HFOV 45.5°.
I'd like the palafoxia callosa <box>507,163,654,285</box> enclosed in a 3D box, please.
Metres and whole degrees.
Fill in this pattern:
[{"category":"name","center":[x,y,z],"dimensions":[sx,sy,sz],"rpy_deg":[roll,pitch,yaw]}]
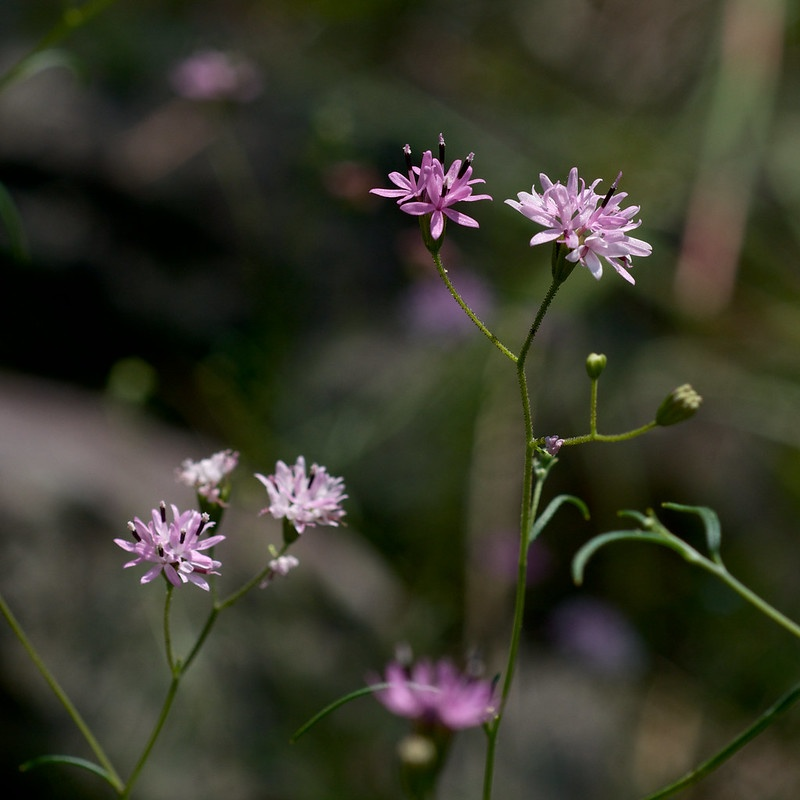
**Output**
[{"category":"palafoxia callosa","center":[0.261,-0.241,1.310],"dimensions":[0.155,0.162,0.245],"rpy_deg":[12,27,36]}]

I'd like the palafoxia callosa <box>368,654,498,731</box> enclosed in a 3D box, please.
[{"category":"palafoxia callosa","center":[0.064,0.536,1.766],"dimensions":[0.224,0.120,0.196],"rpy_deg":[1,22,13]}]

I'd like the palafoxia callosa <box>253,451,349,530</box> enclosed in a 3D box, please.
[{"category":"palafoxia callosa","center":[-0.138,0.129,1.396],"dimensions":[0.112,0.123,0.159],"rpy_deg":[-5,21,-5]}]

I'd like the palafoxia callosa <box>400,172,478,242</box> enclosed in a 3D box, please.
[{"category":"palafoxia callosa","center":[0.064,-0.283,1.328],"dimensions":[0.112,0.102,0.135],"rpy_deg":[-1,21,8]}]
